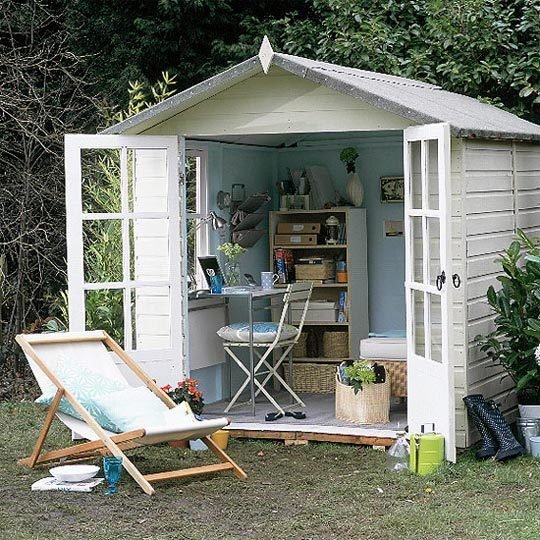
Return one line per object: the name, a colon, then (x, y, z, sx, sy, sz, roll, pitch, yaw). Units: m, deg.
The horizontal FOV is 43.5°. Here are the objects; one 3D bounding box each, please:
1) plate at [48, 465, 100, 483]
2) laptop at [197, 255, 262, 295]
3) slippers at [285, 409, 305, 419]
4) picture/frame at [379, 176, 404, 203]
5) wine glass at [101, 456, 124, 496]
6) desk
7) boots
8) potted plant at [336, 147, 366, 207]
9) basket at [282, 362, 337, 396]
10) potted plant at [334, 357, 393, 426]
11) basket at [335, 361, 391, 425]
plate: (-1.216, 1.278, 4.274, 0.269, 0.100, 0.237, -2, -1, -3)
laptop: (-0.433, 0.034, 6.075, 0.395, 0.247, 0.412, 0, 1, 5)
slippers: (0.222, 1.216, 5.723, 0.123, 0.042, 0.068, 2, 4, 38)
picture/frame: (1.322, -0.878, 7.334, 0.343, 0.327, 0.045, 1, 2, 24)
wine glass: (-0.949, 1.215, 4.100, 0.101, 0.220, 0.370, -2, -1, -15)
desk: (-0.137, 0.696, 6.167, 0.647, 1.205, 0.938, -2, -2, 45)
boots: (1.581, 1.127, 4.826, 0.278, 0.519, 0.532, -33, -22, 31)
potted plant: (0.899, -1.021, 7.401, 0.255, 0.489, 0.281, -3, -1, 6)
basket: (0.428, 1.123, 6.926, 0.425, 0.261, 0.547, 0, -6, 2)
potted plant: (0.796, 0.971, 5.580, 0.432, 0.501, 0.371, 7, 10, 40)
basket: (0.764, 0.973, 5.576, 0.455, 0.488, 0.447, -1, -1, 18)
